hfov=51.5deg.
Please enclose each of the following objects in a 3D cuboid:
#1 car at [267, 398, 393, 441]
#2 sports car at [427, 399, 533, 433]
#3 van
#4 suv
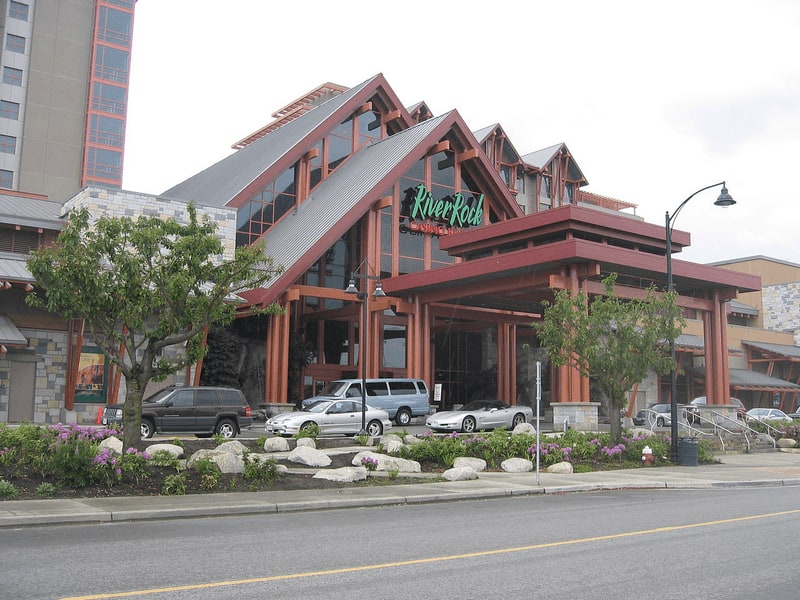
[{"bbox_3d":[-2.575,4.708,31.998,4.137,1.527,1.680,2,-4,-37],"label":"car"},{"bbox_3d":[3.239,5.009,35.408,4.081,1.294,1.703,3,-4,-40],"label":"sports car"},{"bbox_3d":[-1.116,4.440,37.471,5.317,1.986,2.423,7,-12,-35],"label":"van"},{"bbox_3d":[-7.555,3.867,29.180,3.919,1.729,2.178,9,-12,-30],"label":"suv"}]
